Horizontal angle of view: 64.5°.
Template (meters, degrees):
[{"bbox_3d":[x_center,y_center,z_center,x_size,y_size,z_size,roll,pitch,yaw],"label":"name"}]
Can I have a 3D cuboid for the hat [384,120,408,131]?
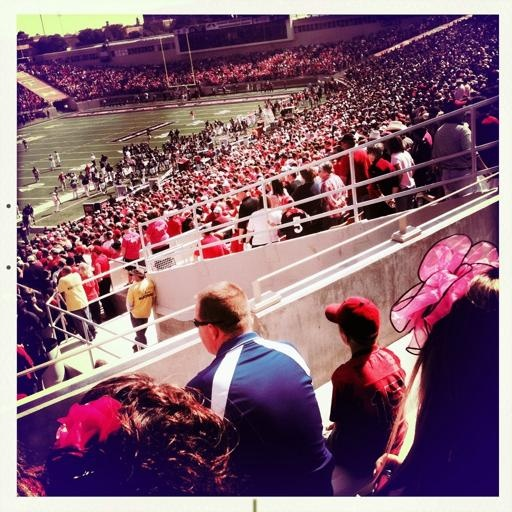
[{"bbox_3d":[1.816,-1.699,5.290,0.195,0.148,0.348,-9,9,14],"label":"hat"}]

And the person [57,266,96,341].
[{"bbox_3d":[-2.362,0.664,5.311,0.324,0.796,0.844,-15,10,-24],"label":"person"}]

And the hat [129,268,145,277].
[{"bbox_3d":[-1.501,0.203,5.083,0.114,0.110,0.312,-18,11,-35],"label":"hat"}]

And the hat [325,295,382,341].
[{"bbox_3d":[0.541,0.294,2.246,0.232,0.187,0.340,-7,25,-25],"label":"hat"}]
